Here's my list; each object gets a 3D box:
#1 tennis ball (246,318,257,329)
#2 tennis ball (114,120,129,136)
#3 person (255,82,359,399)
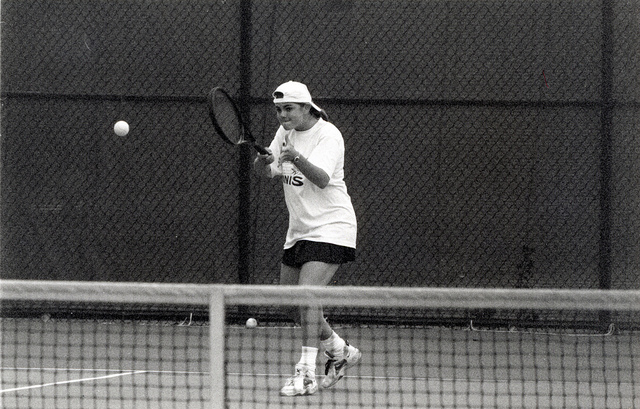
[{"bbox_3d":[-0.707,1.244,10.490,0.077,0.101,0.108,1,9,0],"label":"tennis ball"},{"bbox_3d":[-2.094,-0.800,10.616,0.152,0.165,0.209,-6,19,-9],"label":"tennis ball"},{"bbox_3d":[-0.076,0.364,9.040,0.828,2.818,1.282,-4,18,-2],"label":"person"}]
